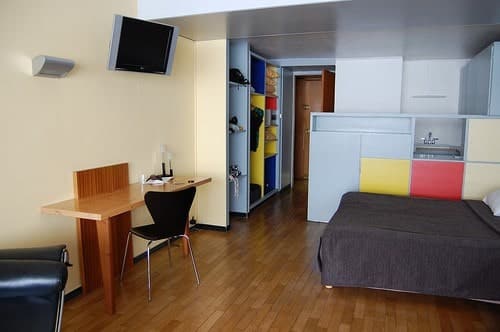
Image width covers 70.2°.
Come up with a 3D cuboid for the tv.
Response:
[{"bbox_3d":[-1.190,-1.333,3.986,0.077,0.570,0.856,29,24,25],"label":"tv"}]

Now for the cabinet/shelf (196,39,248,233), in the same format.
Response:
[{"bbox_3d":[-0.571,-0.442,5.246,0.513,2.735,0.564,1,15,0],"label":"cabinet/shelf"}]

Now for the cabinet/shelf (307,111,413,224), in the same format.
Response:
[{"bbox_3d":[1.640,-0.005,5.195,1.774,1.819,0.627,2,7,16],"label":"cabinet/shelf"}]
